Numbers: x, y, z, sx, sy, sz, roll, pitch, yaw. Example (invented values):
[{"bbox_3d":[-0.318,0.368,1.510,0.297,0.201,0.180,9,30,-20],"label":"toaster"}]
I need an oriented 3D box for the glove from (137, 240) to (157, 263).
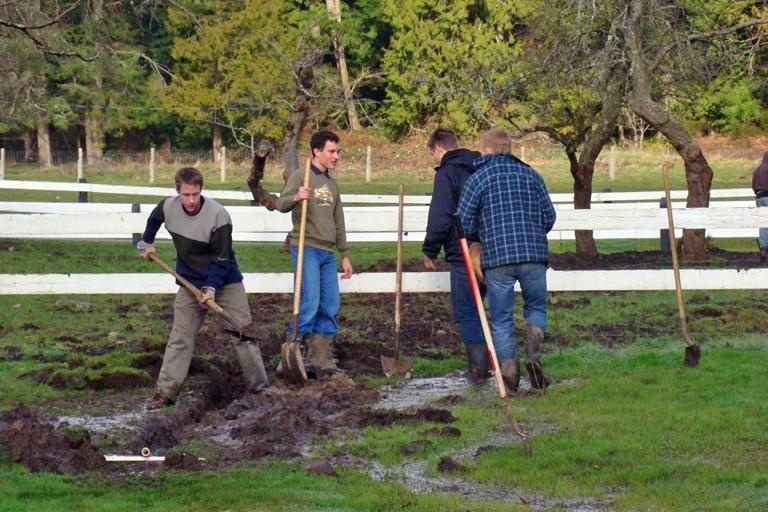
[{"bbox_3d":[-4.996,-0.057,30.245,0.316,0.397,0.414,4,-24,-9],"label":"glove"}]

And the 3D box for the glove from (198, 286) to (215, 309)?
[{"bbox_3d":[-3.655,0.896,29.750,0.392,0.454,0.353,-2,0,-10],"label":"glove"}]

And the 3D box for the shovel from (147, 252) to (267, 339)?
[{"bbox_3d":[-3.600,1.048,29.822,3.289,0.317,1.120,36,-36,4],"label":"shovel"}]

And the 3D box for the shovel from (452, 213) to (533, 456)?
[{"bbox_3d":[2.255,1.619,29.617,0.506,4.912,0.697,-5,-13,-36],"label":"shovel"}]

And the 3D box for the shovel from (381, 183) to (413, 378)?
[{"bbox_3d":[0.233,0.568,31.364,0.634,4.085,1.530,-2,0,0],"label":"shovel"}]
